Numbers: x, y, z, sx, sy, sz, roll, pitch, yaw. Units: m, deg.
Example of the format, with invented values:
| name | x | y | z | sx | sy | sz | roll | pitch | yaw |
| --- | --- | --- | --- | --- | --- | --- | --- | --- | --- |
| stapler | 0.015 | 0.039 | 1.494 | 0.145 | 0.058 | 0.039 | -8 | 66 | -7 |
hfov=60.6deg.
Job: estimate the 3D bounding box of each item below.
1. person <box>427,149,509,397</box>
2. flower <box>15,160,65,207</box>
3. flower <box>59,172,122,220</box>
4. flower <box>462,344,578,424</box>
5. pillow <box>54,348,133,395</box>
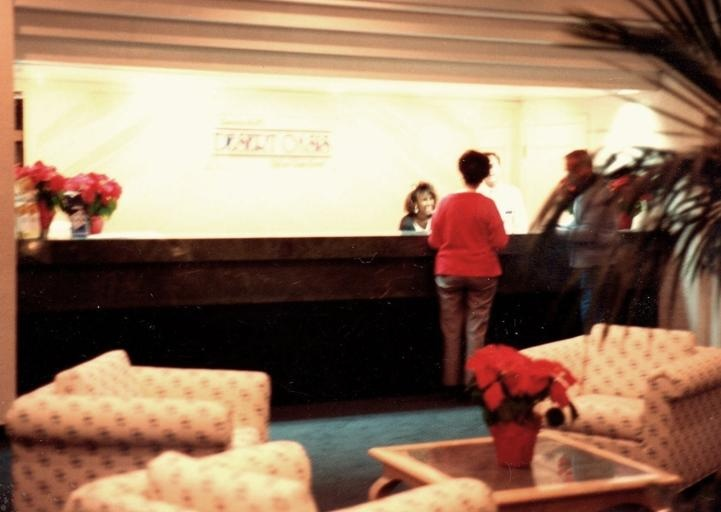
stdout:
| name | x | y | z | sx | sy | sz | roll | pitch | yaw |
| --- | --- | --- | --- | --- | --- | --- | --- | --- | --- |
| person | 0.634 | 0.228 | 3.836 | 0.479 | 1.241 | 0.195 | 3 | 10 | -1 |
| flower | -1.791 | -0.398 | 3.470 | 0.282 | 0.247 | 0.130 | 9 | 11 | 31 |
| flower | -1.471 | -0.338 | 3.505 | 0.291 | 0.203 | 0.288 | 0 | 4 | 26 |
| flower | 0.521 | 0.425 | 2.038 | 0.264 | 0.177 | 0.274 | 9 | 21 | 17 |
| pillow | -0.893 | 0.388 | 2.089 | 0.151 | 0.075 | 0.233 | 0 | 2 | 12 |
